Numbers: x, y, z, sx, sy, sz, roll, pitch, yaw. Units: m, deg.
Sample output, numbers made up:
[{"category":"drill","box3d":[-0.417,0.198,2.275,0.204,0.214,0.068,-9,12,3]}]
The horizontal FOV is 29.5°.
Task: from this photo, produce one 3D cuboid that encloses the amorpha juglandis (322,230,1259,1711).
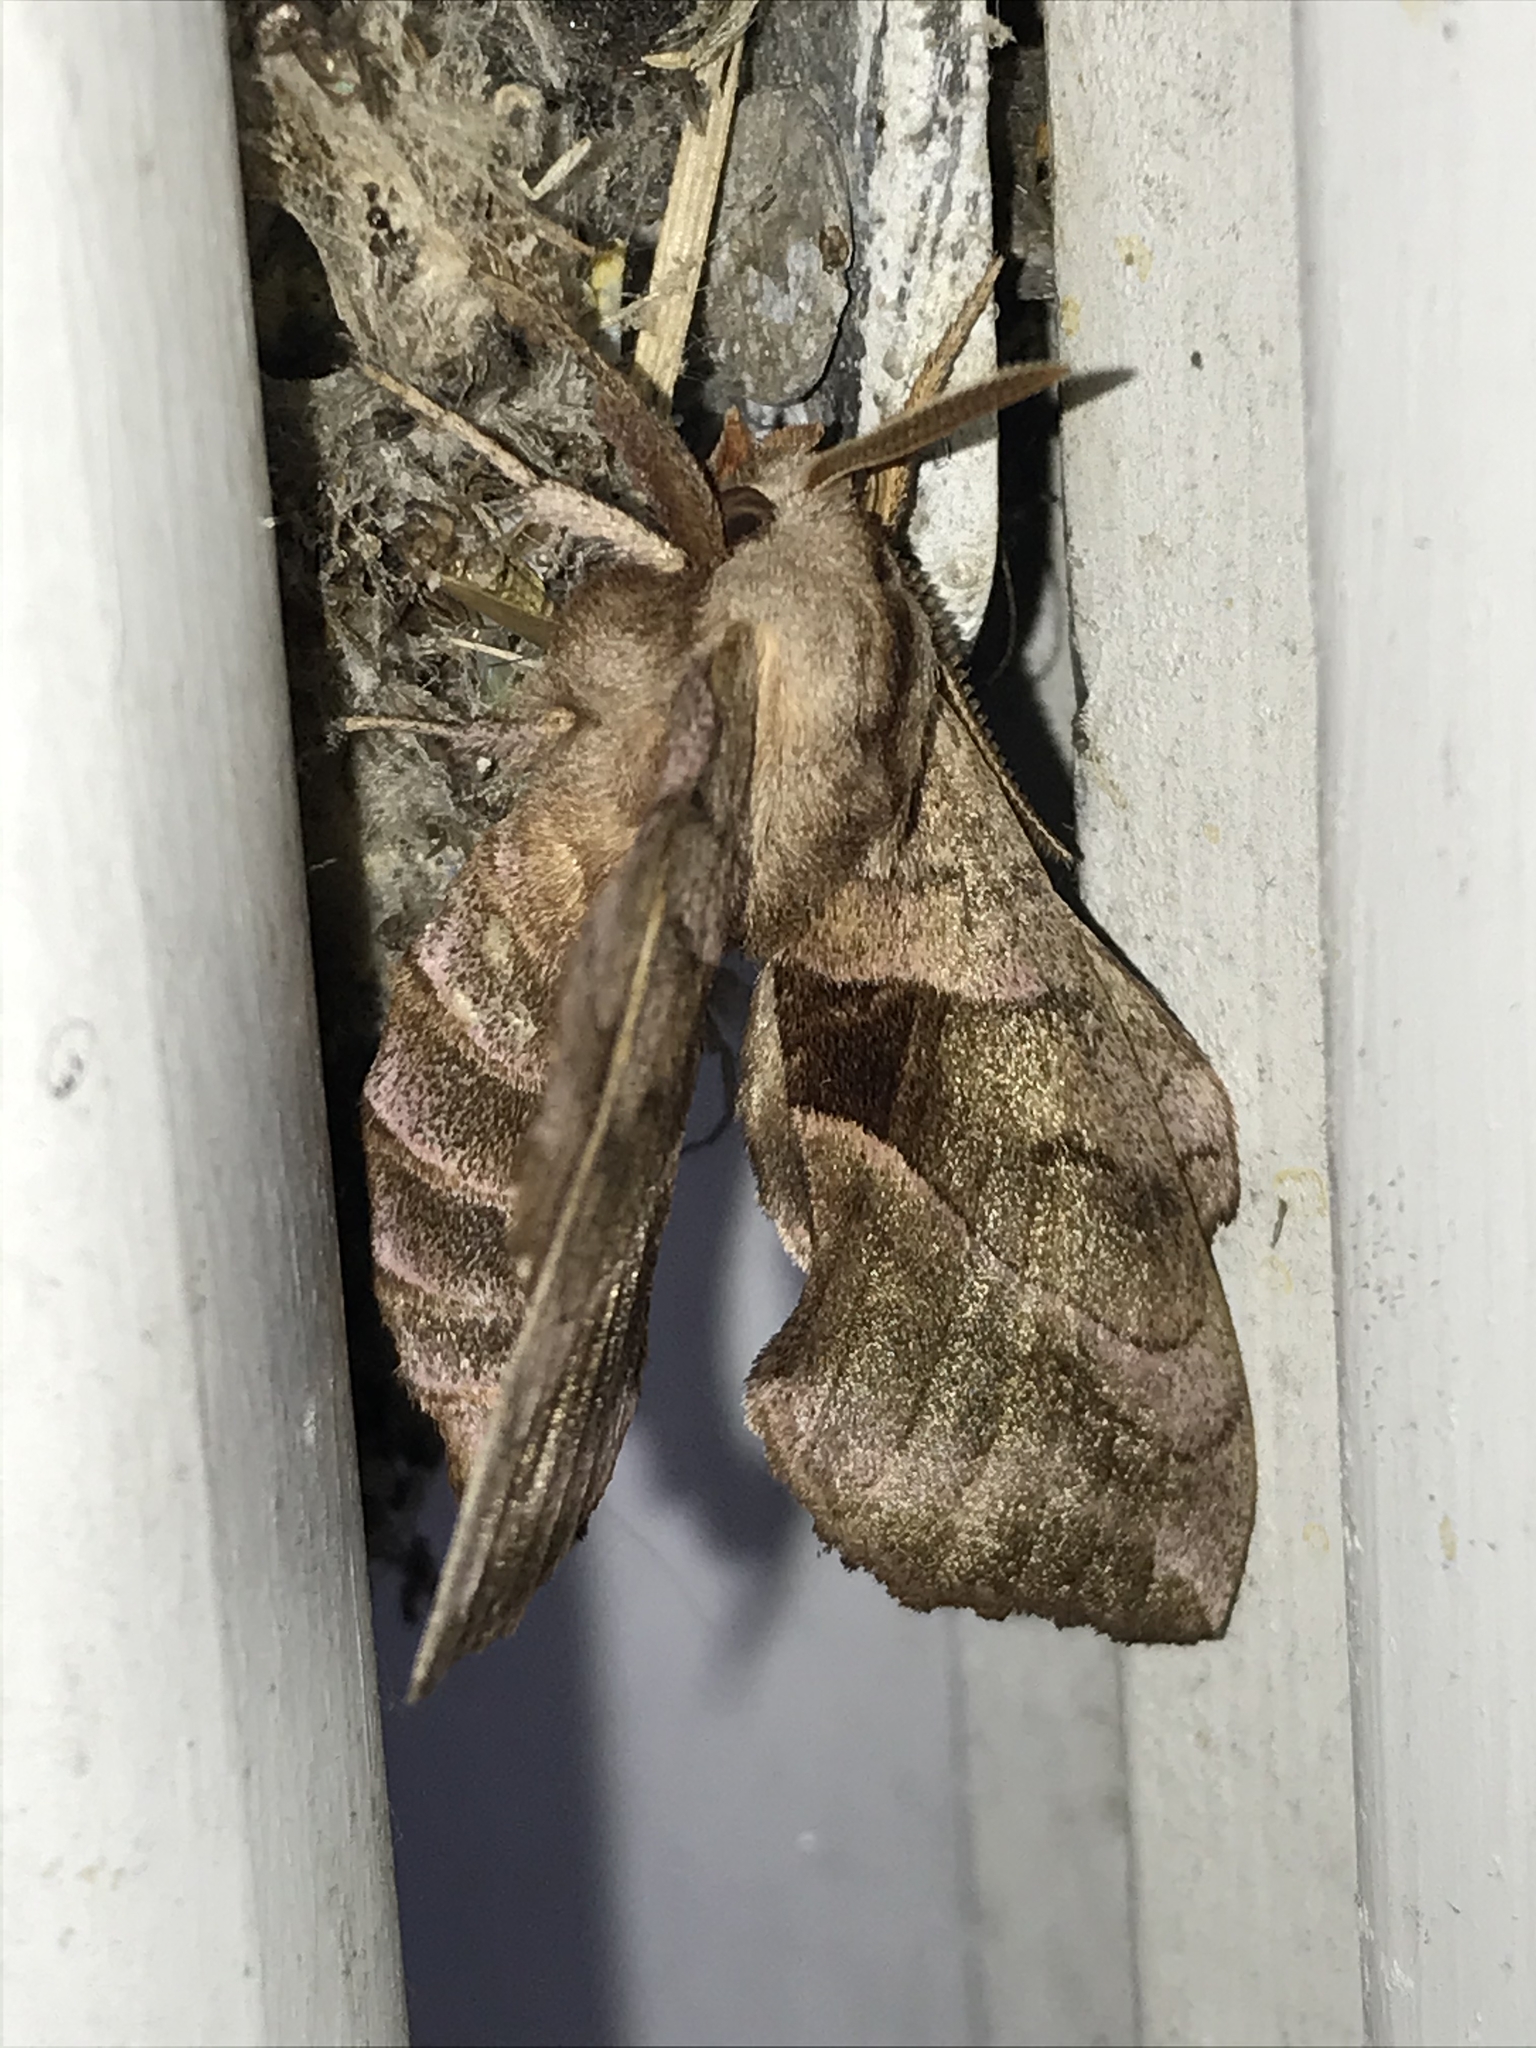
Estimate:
[{"category":"amorpha juglandis","box3d":[0.066,-0.037,1.067,0.441,0.431,0.143,3,10,37]}]
